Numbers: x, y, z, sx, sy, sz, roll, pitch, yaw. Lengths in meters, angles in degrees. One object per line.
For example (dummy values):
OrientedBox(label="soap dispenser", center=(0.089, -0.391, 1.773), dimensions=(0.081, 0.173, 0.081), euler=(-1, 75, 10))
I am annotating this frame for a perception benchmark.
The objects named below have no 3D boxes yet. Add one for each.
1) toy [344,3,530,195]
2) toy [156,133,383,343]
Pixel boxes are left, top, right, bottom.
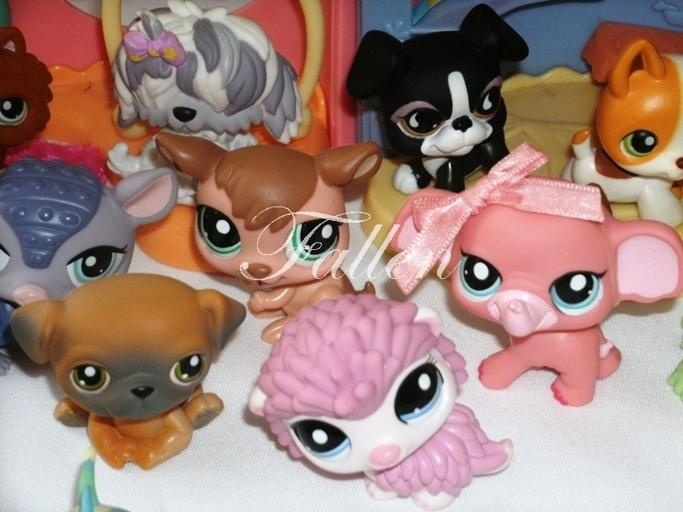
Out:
OrientedBox(label="toy", center=(0.307, -0.533, 2.296), dimensions=(0.474, 0.519, 0.331), euler=(-20, 46, -10))
OrientedBox(label="toy", center=(-0.184, 0.012, 2.245), dimensions=(0.711, 0.824, 0.462), euler=(-1, 43, 3))
